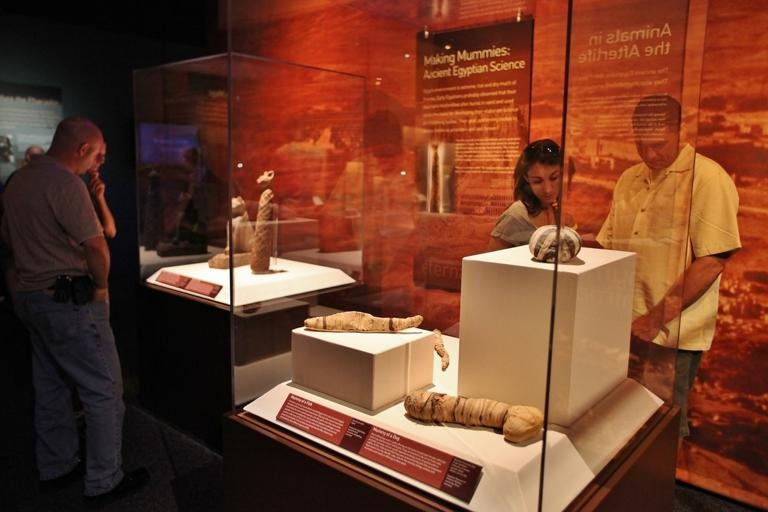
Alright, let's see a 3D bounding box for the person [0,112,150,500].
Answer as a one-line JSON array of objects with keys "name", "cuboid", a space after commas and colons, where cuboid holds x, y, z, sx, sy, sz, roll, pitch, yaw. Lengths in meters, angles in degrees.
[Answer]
[{"name": "person", "cuboid": [-1.943, 0.449, 3.742, 0.686, 2.127, 0.433, 7, 13, 30]}]
